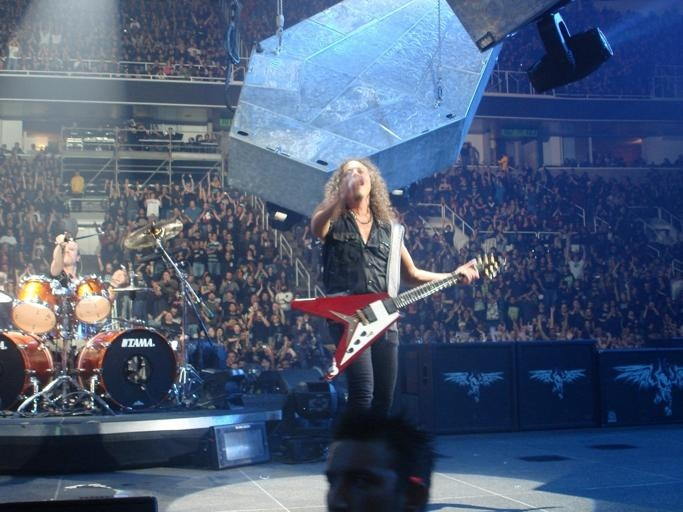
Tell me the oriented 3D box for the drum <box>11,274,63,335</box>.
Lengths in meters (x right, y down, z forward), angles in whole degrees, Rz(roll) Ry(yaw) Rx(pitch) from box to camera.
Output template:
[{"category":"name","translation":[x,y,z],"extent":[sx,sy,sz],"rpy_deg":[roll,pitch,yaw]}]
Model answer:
[{"category":"drum","translation":[-4.211,0.627,14.579],"extent":[0.713,0.808,0.783],"rpy_deg":[-2,-49,-11]}]

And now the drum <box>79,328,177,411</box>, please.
[{"category":"drum","translation":[-2.952,1.545,14.494],"extent":[1.087,1.146,0.896],"rpy_deg":[-3,8,-43]}]

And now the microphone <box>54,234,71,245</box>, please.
[{"category":"microphone","translation":[-4.338,-0.261,16.378],"extent":[0.336,0.150,0.091],"rpy_deg":[0,-32,-47]}]

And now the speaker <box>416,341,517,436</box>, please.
[{"category":"speaker","translation":[1.752,1.918,15.194],"extent":[1.535,1.267,0.736],"rpy_deg":[-1,7,-23]}]
